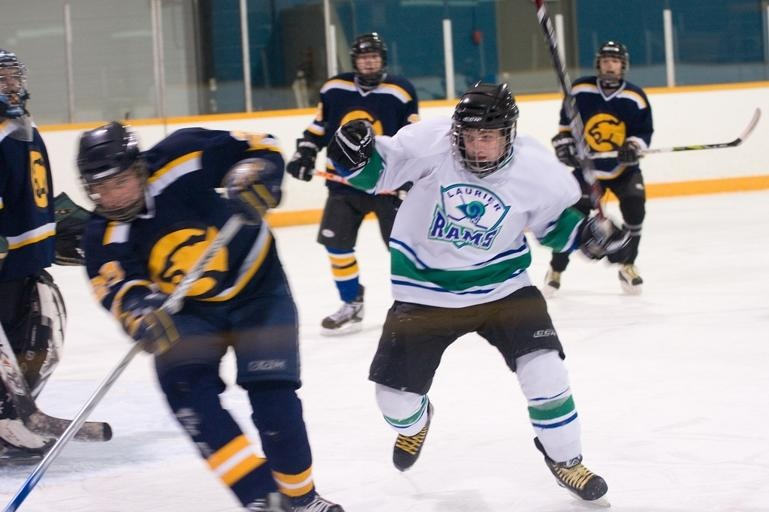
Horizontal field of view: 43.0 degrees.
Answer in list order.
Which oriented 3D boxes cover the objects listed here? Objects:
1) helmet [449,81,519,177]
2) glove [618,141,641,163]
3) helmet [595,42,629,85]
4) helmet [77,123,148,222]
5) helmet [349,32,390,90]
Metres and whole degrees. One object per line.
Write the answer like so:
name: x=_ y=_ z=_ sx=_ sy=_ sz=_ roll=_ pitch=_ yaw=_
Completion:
helmet: x=0.397 y=-0.500 z=3.848 sx=0.226 sy=0.332 sz=0.121 roll=-9 pitch=14 yaw=-26
glove: x=1.468 y=-0.614 z=5.848 sx=0.127 sy=0.061 sz=0.145 roll=-5 pitch=30 yaw=8
helmet: x=1.402 y=-1.171 z=6.005 sx=0.192 sy=0.274 sz=0.225 roll=-2 pitch=12 yaw=5
helmet: x=-1.004 y=-0.294 z=3.620 sx=0.238 sy=0.332 sz=0.100 roll=-6 pitch=13 yaw=-11
helmet: x=-0.097 y=-1.143 z=5.624 sx=0.262 sy=0.274 sz=0.303 roll=-9 pitch=25 yaw=2
